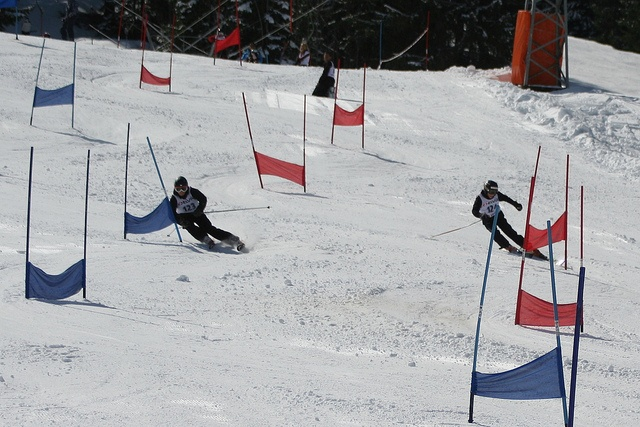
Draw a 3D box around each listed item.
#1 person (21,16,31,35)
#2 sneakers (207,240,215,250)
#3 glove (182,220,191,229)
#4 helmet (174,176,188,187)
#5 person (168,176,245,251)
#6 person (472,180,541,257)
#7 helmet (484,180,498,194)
[{"bbox_3d":[-11.959,-7.550,45.176,0.323,0.615,1.258,5,17,-18],"label":"person"},{"bbox_3d":[-2.866,0.793,29.302,0.134,0.271,0.164,11,-11,42],"label":"sneakers"},{"bbox_3d":[-3.544,0.274,29.362,0.244,0.255,0.115,10,16,-2],"label":"glove"},{"bbox_3d":[-3.643,-0.801,29.243,0.333,0.327,0.262,9,16,-5],"label":"helmet"},{"bbox_3d":[-3.151,0.187,29.495,2.416,1.327,0.713,52,4,-13],"label":"person"},{"bbox_3d":[5.031,0.165,30.503,1.159,2.465,0.932,-24,-26,3],"label":"person"},{"bbox_3d":[4.747,-0.738,30.509,0.366,0.346,0.284,13,16,6],"label":"helmet"}]
